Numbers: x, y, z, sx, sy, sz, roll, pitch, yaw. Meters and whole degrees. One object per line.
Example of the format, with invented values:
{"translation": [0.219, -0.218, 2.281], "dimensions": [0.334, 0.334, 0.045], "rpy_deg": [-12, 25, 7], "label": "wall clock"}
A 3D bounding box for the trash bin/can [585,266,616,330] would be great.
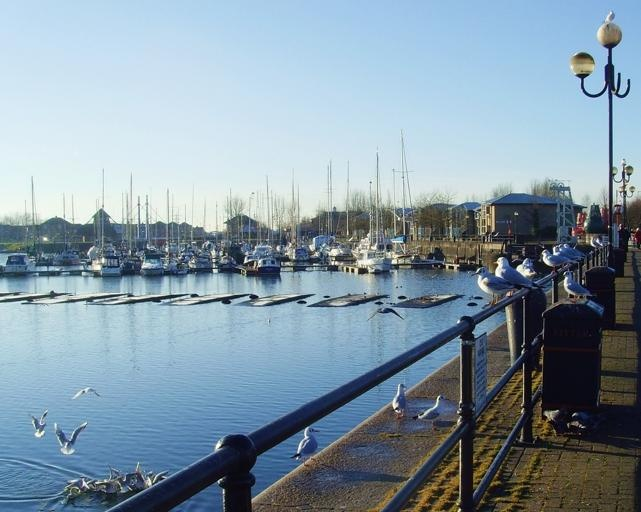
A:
{"translation": [4.914, 0.618, 14.896], "dimensions": [0.657, 1.377, 0.778], "rpy_deg": [3, 7, 25], "label": "trash bin/can"}

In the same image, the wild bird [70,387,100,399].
{"translation": [-6.344, 3.668, 22.606], "dimensions": [0.488, 0.241, 0.626], "rpy_deg": [-1, 7, -40], "label": "wild bird"}

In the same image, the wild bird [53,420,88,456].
{"translation": [-5.374, 3.901, 18.021], "dimensions": [0.814, 0.756, 0.614], "rpy_deg": [0, -13, -23], "label": "wild bird"}
